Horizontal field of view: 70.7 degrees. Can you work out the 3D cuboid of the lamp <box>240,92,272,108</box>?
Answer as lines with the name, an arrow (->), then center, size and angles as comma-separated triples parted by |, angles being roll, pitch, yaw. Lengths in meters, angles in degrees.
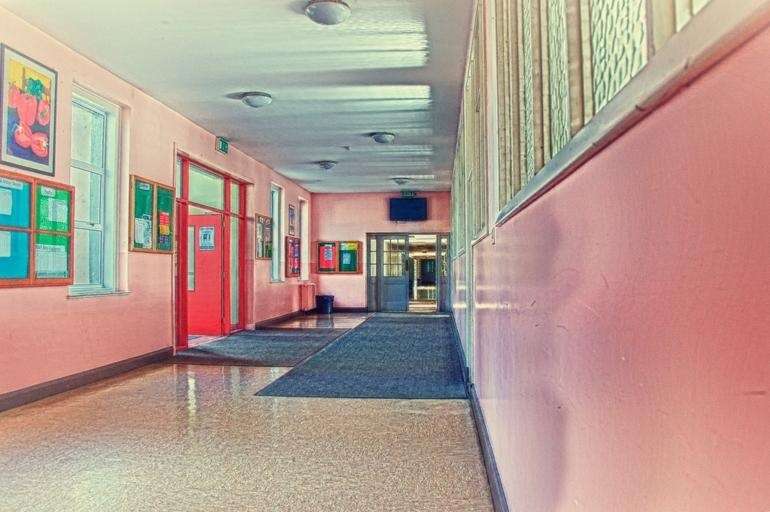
lamp -> -1.448, -1.779, 6.183 | 0.363, 0.088, 0.370 | 0, 0, -19

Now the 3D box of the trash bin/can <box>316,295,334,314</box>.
trash bin/can -> -1.387, 1.144, 12.616 | 0.406, 0.331, 0.404 | -1, -10, 2
